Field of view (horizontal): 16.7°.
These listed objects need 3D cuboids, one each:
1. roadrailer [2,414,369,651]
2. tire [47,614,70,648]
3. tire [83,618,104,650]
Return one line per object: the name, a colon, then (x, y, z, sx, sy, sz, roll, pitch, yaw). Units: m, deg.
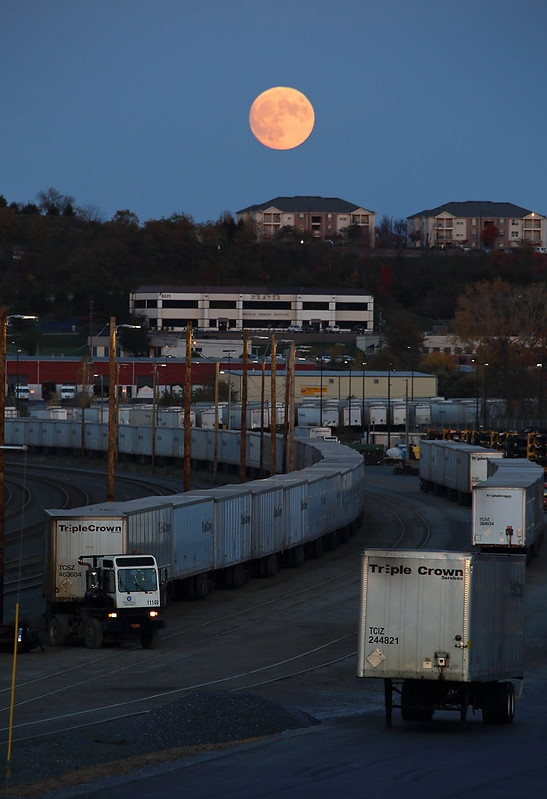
roadrailer: (-0.329, 4.981, 69.620, 4.694, 5.888, 46.126, 1, -1, 9)
tire: (-5.395, 5.929, 48.355, 0.223, 0.833, 0.738, 0, -3, -21)
tire: (-4.462, 5.932, 47.798, 0.215, 0.758, 0.675, 0, -13, -28)
